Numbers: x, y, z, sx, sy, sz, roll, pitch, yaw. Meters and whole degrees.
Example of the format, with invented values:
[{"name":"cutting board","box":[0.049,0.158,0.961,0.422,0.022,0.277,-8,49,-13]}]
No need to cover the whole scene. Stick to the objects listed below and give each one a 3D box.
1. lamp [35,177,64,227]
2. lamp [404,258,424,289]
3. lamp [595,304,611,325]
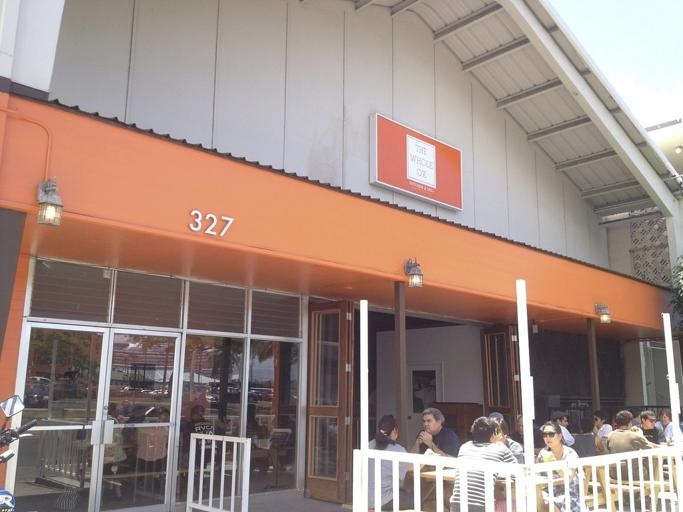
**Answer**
[{"name":"lamp","box":[-2.958,-0.566,5.587,0.259,0.491,0.234,10,-21,-30]},{"name":"lamp","box":[1.165,0.236,8.510,0.384,0.491,0.220,10,-21,-28]},{"name":"lamp","box":[5.887,1.291,12.359,0.205,0.440,0.419,-13,-18,43]}]
